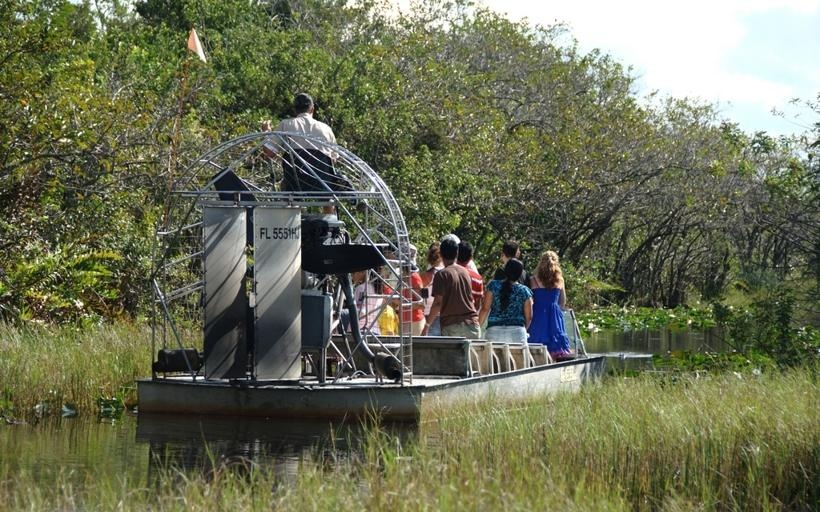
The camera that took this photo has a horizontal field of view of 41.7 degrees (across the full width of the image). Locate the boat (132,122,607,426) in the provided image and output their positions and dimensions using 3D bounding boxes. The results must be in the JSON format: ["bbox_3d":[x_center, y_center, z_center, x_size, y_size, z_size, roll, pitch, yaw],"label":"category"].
[{"bbox_3d":[-1.597,0.176,21.944,10.053,5.742,5.994,-2,9,20],"label":"boat"}]
